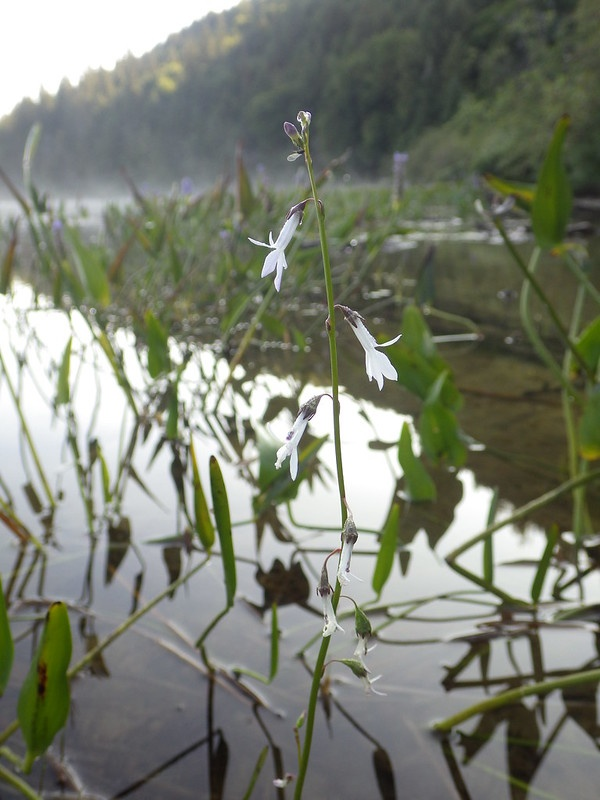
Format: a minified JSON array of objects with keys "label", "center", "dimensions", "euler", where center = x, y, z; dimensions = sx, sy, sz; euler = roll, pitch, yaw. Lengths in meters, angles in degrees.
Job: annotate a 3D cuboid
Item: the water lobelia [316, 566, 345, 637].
[{"label":"water lobelia","center":[0.013,0.098,0.345],"dimensions":[0.014,0.033,0.012],"euler":[-12,10,-30]}]
